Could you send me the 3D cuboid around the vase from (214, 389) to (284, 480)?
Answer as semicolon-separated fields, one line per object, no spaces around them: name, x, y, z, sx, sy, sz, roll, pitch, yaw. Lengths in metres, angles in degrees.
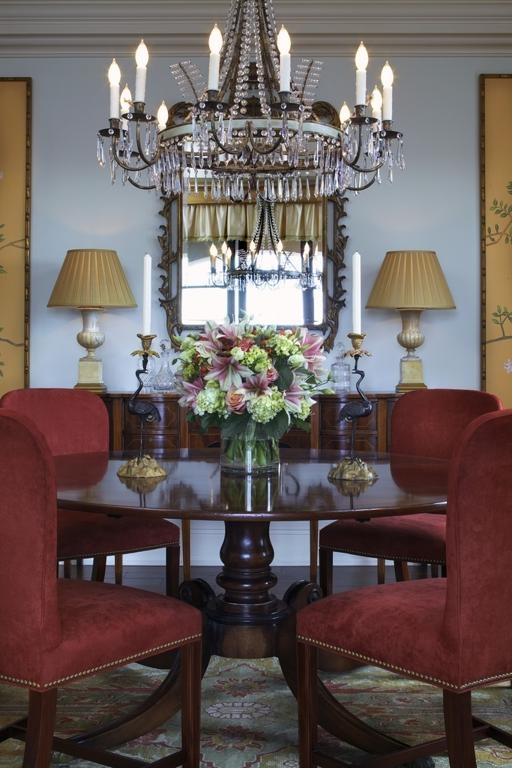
vase;-0.015;0.156;1.829;0.146;0.157;0.156;1;-5;10

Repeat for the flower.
flower;-0.016;0.013;1.920;0.346;0.357;0.354;1;1;41

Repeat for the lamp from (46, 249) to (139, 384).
lamp;-0.809;-0.317;3.699;0.418;0.698;0.417;-3;4;-13

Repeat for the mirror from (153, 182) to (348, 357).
mirror;0.000;-0.564;3.492;0.963;1.030;0.045;0;2;-2

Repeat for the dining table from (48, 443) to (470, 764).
dining table;0.038;0.404;1.731;0.731;0.472;0.745;-1;2;6
